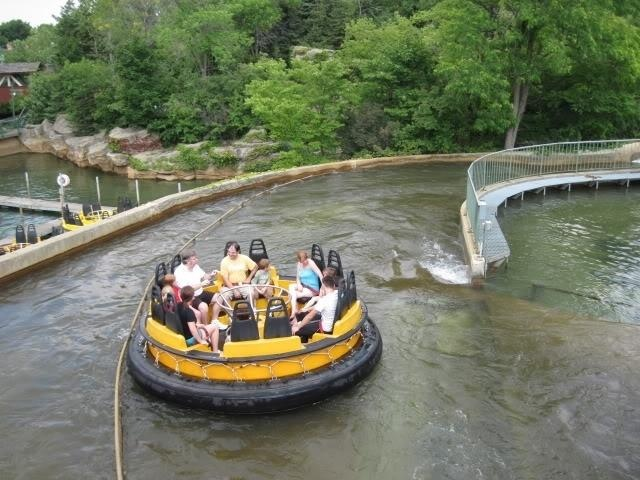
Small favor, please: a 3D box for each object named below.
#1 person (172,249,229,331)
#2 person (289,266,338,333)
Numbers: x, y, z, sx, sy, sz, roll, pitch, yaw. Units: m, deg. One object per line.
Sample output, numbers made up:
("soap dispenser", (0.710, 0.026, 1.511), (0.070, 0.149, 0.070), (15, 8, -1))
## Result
("person", (-2.584, 1.100, 11.281), (1.056, 1.641, 0.760), (0, 12, 15))
("person", (-0.129, 1.224, 10.433), (0.833, 1.293, 0.559), (16, 38, 15))
